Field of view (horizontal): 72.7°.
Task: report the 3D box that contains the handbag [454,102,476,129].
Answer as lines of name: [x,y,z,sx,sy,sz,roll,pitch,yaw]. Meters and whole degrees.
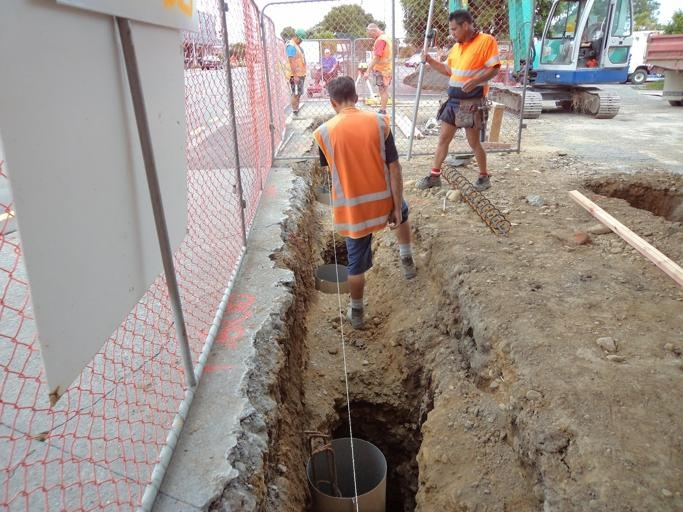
handbag: [1.459,-1.680,5.490,0.213,0.299,0.104,3,3,20]

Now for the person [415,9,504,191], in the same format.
person: [1.471,-1.850,5.681,0.855,2.125,0.632,13,24,27]

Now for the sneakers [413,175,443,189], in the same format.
sneakers: [1.117,-1.008,6.101,0.373,0.198,0.146,-5,53,-1]

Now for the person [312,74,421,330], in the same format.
person: [0.147,-0.418,4.016,0.686,2.109,0.405,6,22,13]

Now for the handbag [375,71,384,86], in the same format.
handbag: [0.802,-3.836,10.044,0.207,0.291,0.102,1,-2,-6]

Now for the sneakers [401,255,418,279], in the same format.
sneakers: [0.687,0.089,4.735,0.099,0.204,0.292,-4,35,13]

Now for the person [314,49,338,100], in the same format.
person: [-0.476,-5.125,12.764,0.673,1.200,0.549,-11,16,-37]

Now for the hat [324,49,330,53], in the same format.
hat: [-0.407,-5.627,12.690,0.165,0.140,0.406,1,22,-1]
